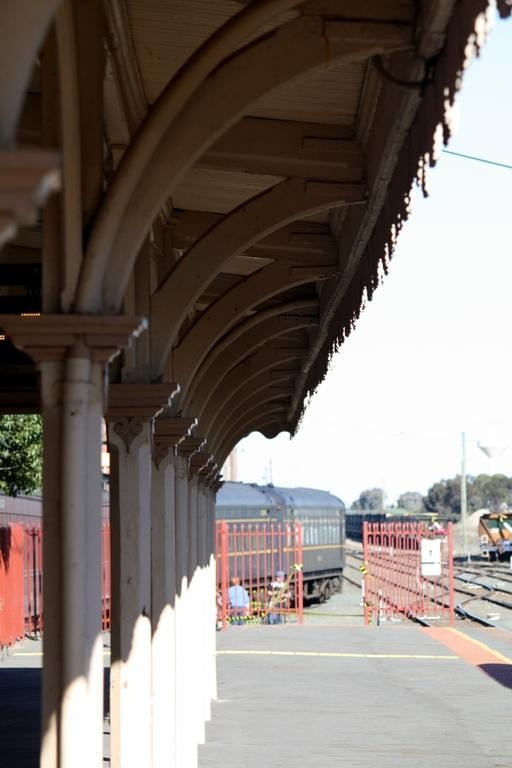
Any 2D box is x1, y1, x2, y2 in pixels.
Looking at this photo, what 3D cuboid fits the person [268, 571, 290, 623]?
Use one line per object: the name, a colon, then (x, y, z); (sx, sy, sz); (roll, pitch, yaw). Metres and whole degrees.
person: (0.366, 3.697, 22.503); (0.326, 0.136, 1.318); (3, -54, 0)
